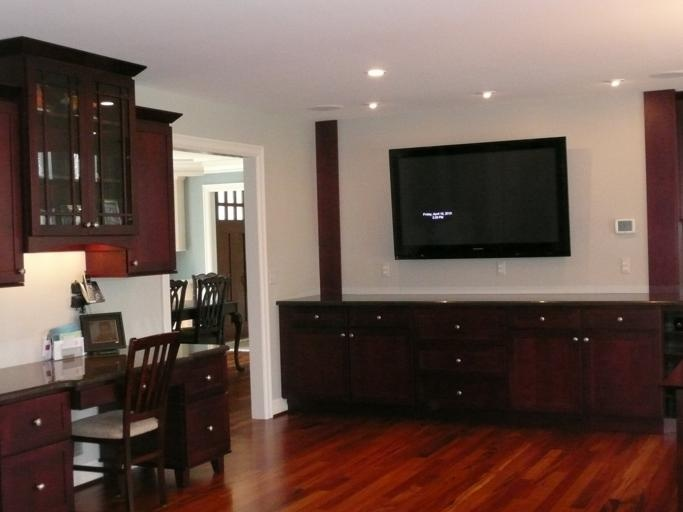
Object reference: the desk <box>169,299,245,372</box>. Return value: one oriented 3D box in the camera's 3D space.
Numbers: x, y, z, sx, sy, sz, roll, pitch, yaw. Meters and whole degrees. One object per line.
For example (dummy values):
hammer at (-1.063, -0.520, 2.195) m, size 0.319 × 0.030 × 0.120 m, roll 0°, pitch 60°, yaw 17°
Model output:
desk at (-1.575, 0.809, 7.354) m, size 0.801 × 0.866 × 1.277 m, roll 1°, pitch 0°, yaw 20°

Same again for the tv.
tv at (1.348, -0.537, 5.483) m, size 1.230 × 0.793 × 0.125 m, roll -2°, pitch 6°, yaw 21°

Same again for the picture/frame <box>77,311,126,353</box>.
picture/frame at (-1.680, 0.538, 4.116) m, size 0.029 × 0.246 × 0.301 m, roll -17°, pitch -9°, yaw 42°
